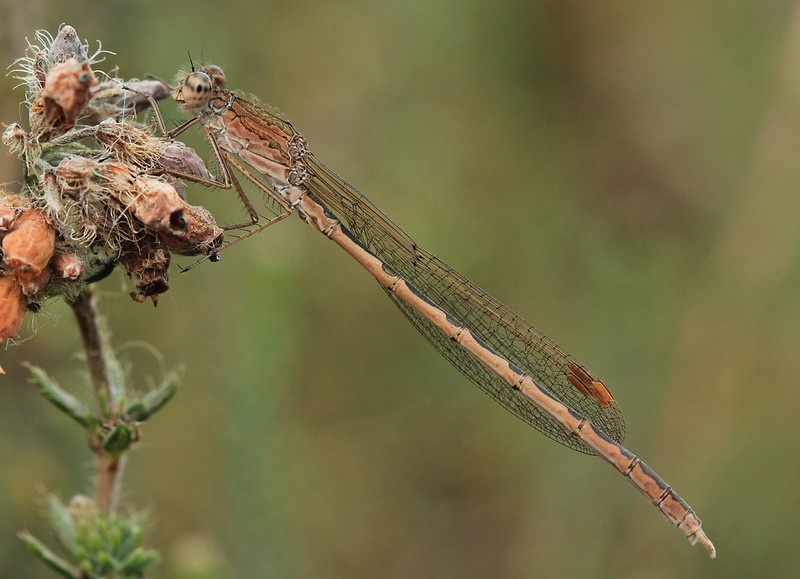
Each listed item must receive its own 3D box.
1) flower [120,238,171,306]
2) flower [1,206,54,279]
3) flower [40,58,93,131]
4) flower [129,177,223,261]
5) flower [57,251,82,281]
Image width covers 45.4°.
[{"bbox_3d":[-1.136,-0.090,4.278,0.096,0.111,0.250,50,-7,11],"label":"flower"},{"bbox_3d":[-1.555,-0.186,4.030,0.165,0.295,0.102,33,-50,-22],"label":"flower"},{"bbox_3d":[-1.398,-0.832,4.014,0.188,0.129,0.274,56,-12,-31],"label":"flower"},{"bbox_3d":[-0.971,-0.308,4.222,0.173,0.243,0.376,-31,-67,31],"label":"flower"},{"bbox_3d":[-1.416,-0.101,4.094,0.119,0.076,0.093,39,-43,11],"label":"flower"}]
